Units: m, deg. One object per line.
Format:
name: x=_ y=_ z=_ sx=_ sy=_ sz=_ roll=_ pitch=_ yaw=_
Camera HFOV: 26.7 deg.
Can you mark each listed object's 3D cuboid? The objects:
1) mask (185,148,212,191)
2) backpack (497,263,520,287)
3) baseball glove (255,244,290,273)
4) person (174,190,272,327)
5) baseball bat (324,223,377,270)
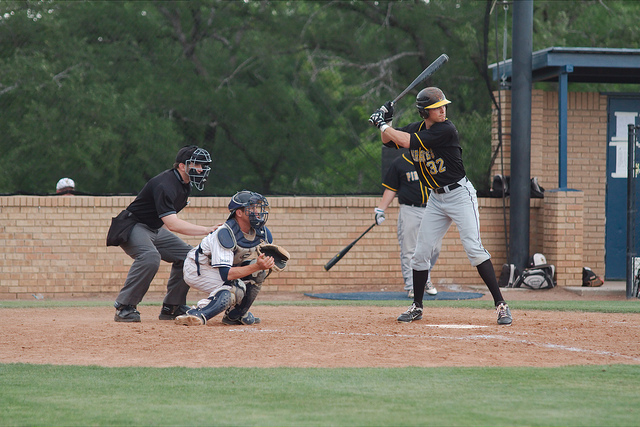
mask: x=-1.857 y=-0.688 z=20.415 sx=0.380 sy=0.606 sz=0.541 roll=0 pitch=-1 yaw=-6
backpack: x=3.356 y=1.094 z=23.852 sx=0.233 sy=0.352 sz=0.228 roll=21 pitch=2 yaw=-34
baseball glove: x=-0.699 y=0.625 z=20.062 sx=0.506 sy=0.334 sz=0.195 roll=33 pitch=-11 yaw=-11
person: x=-1.367 y=0.673 z=19.883 sx=1.272 sy=1.968 sz=0.606 roll=0 pitch=-1 yaw=-2
baseball bat: x=0.510 y=0.611 z=23.795 sx=1.340 sy=0.100 sz=0.088 roll=-38 pitch=2 yaw=-24
